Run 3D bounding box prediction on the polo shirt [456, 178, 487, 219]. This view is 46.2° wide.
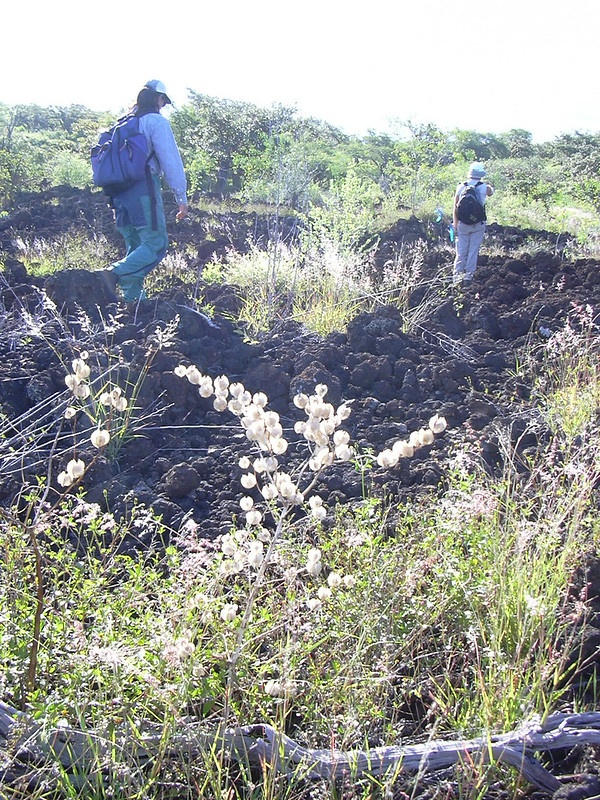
[{"bbox_3d":[1.823,-2.103,7.482,0.300,0.456,0.509,1,13,12],"label":"polo shirt"}]

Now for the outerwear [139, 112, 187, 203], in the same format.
[{"bbox_3d":[-1.054,-1.949,5.654,0.379,0.575,0.222,22,46,37],"label":"outerwear"}]
